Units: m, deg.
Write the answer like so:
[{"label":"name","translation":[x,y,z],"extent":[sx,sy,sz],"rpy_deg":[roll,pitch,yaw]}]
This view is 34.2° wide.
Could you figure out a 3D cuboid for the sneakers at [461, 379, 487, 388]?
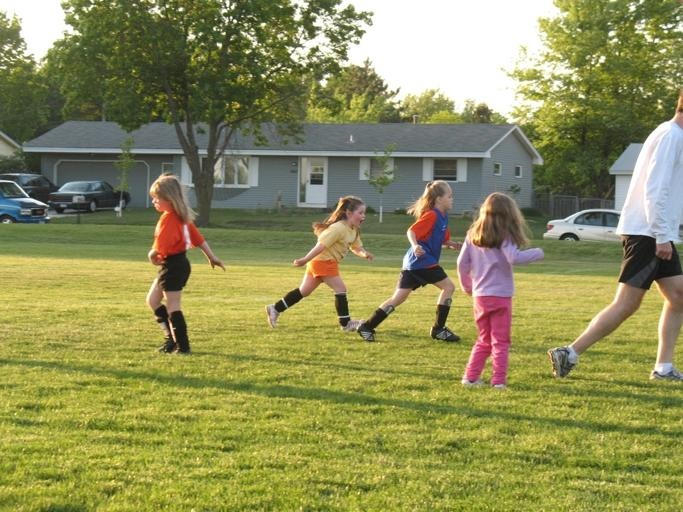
[{"label":"sneakers","translation":[1.367,1.322,11.460],"extent":[0.258,0.078,0.077],"rpy_deg":[0,6,-5]}]

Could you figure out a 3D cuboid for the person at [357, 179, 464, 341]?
[{"label":"person","translation":[0.910,0.053,13.333],"extent":[1.242,1.933,0.832],"rpy_deg":[3,6,-13]}]

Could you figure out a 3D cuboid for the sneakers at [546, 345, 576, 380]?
[{"label":"sneakers","translation":[2.309,1.095,11.738],"extent":[0.261,0.402,0.156],"rpy_deg":[-16,29,3]}]

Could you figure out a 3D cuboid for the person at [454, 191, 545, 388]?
[{"label":"person","translation":[1.597,0.338,11.546],"extent":[0.728,2.000,0.682],"rpy_deg":[3,6,-11]}]

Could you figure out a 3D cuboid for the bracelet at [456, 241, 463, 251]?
[{"label":"bracelet","translation":[1.391,-0.116,13.136],"extent":[0.085,0.083,0.032],"rpy_deg":[2,4,14]}]

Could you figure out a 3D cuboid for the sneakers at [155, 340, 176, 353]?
[{"label":"sneakers","translation":[-1.942,1.003,12.463],"extent":[0.192,0.140,0.215],"rpy_deg":[2,4,-8]}]

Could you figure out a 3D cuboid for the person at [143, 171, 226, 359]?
[{"label":"person","translation":[-1.840,0.064,12.666],"extent":[0.753,1.996,0.945],"rpy_deg":[3,6,-8]}]

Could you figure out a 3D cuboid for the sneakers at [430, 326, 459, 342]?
[{"label":"sneakers","translation":[1.232,0.948,13.280],"extent":[0.339,0.117,0.159],"rpy_deg":[2,4,11]}]

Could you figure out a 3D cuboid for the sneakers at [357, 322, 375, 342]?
[{"label":"sneakers","translation":[0.303,0.895,13.273],"extent":[0.216,0.220,0.314],"rpy_deg":[3,4,0]}]

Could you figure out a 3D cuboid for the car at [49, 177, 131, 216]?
[{"label":"car","translation":[-9.145,-2.120,40.126],"extent":[1.279,1.208,2.762],"rpy_deg":[6,5,28]}]

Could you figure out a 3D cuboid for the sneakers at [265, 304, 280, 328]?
[{"label":"sneakers","translation":[-0.861,0.734,13.695],"extent":[0.187,0.313,0.127],"rpy_deg":[-5,7,9]}]

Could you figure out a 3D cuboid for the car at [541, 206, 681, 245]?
[{"label":"car","translation":[7.307,-0.733,30.500],"extent":[3.705,0.860,1.378],"rpy_deg":[-2,1,14]}]
